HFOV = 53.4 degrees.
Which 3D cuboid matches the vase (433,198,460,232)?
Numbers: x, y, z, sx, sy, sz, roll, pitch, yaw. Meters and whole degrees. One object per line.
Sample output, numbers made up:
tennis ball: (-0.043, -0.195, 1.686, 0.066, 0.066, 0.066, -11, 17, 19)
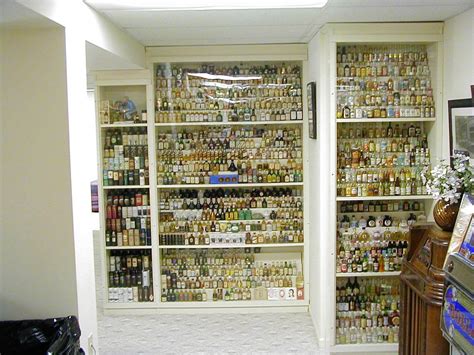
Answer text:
vase: (1.931, 0.311, 4.327, 0.213, 0.310, 0.230, -3, 2, -3)
